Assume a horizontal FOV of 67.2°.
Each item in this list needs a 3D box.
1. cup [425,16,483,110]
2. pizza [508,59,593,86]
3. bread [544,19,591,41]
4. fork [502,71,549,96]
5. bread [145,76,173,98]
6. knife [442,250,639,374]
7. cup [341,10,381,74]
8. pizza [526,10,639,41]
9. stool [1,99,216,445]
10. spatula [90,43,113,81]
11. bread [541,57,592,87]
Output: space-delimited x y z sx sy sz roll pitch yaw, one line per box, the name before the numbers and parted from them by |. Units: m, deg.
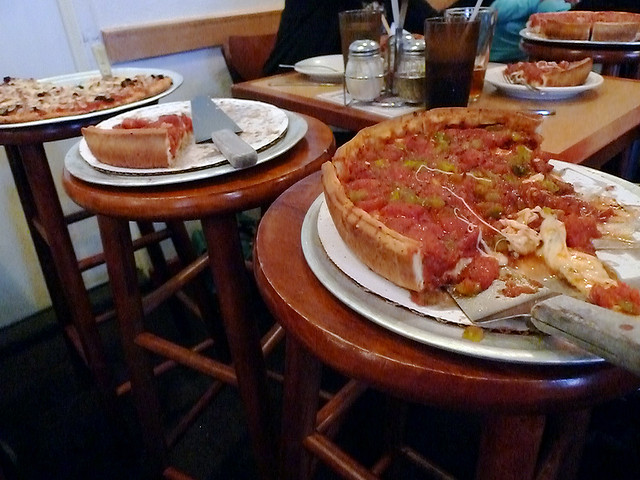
cup | 0.331 -0.445 1.204 0.121 0.224 0.103 -14 36 -18
pizza | 0.638 -0.468 1.337 0.129 0.051 0.142 5 22 -2
bread | 0.949 -0.805 1.841 0.093 0.058 0.130 -14 32 -13
fork | 0.570 -0.454 1.344 0.054 0.022 0.112 -27 39 5
bread | -0.456 -0.439 1.374 0.052 0.021 0.091 27 46 14
knife | 0.287 0.077 0.609 0.179 0.045 0.121 13 23 38
cup | 0.130 -0.651 1.598 0.129 0.241 0.145 -1 34 0
pizza | 1.070 -0.871 1.934 0.414 0.076 0.346 0 37 1
stool | -0.620 0.154 1.739 0.645 1.304 0.502 11 30 31
spatula | -0.731 -0.600 1.621 0.044 0.022 0.225 -26 -5 -18
bread | 0.678 -0.435 1.308 0.085 0.045 0.116 -15 14 -10
